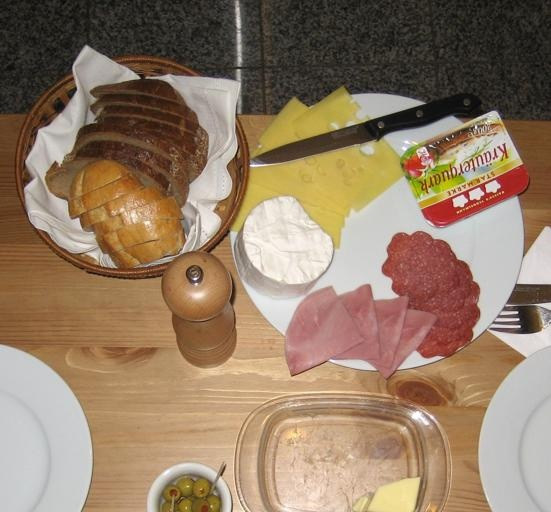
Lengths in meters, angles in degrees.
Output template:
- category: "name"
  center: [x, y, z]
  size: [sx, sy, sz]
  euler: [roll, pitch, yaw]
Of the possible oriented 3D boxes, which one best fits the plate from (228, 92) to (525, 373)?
- category: "plate"
  center: [0.252, -0.033, 1.063]
  size: [0.623, 0.058, 0.445]
  euler: [-6, 78, -2]
